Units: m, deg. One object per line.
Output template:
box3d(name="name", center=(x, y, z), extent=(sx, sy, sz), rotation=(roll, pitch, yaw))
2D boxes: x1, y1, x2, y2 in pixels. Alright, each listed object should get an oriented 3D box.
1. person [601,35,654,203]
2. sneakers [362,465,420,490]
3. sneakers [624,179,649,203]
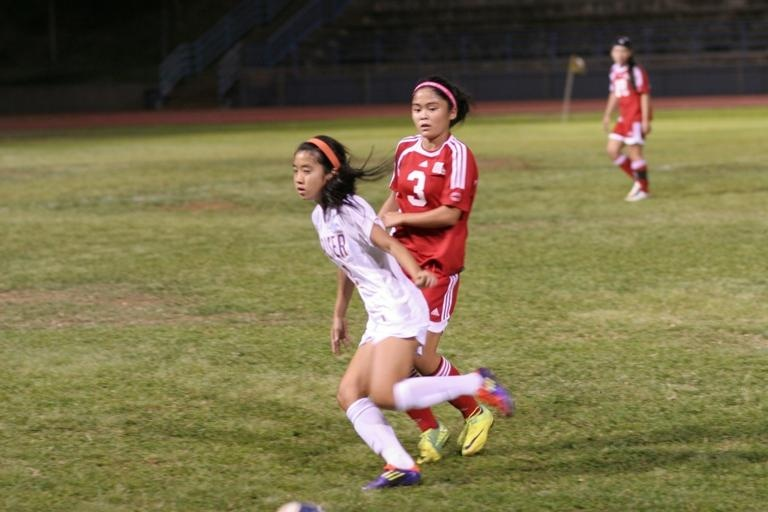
box3d(name="person", center=(3.558, -1.961, 19.739), extent=(0.655, 2.329, 0.811), rotation=(1, 8, 6))
box3d(name="sneakers", center=(0.001, 2.223, 13.759), extent=(0.708, 0.212, 0.211), rotation=(0, -4, -8))
box3d(name="sneakers", center=(3.659, -0.910, 19.647), extent=(0.475, 0.220, 0.192), rotation=(-6, 11, 7))
